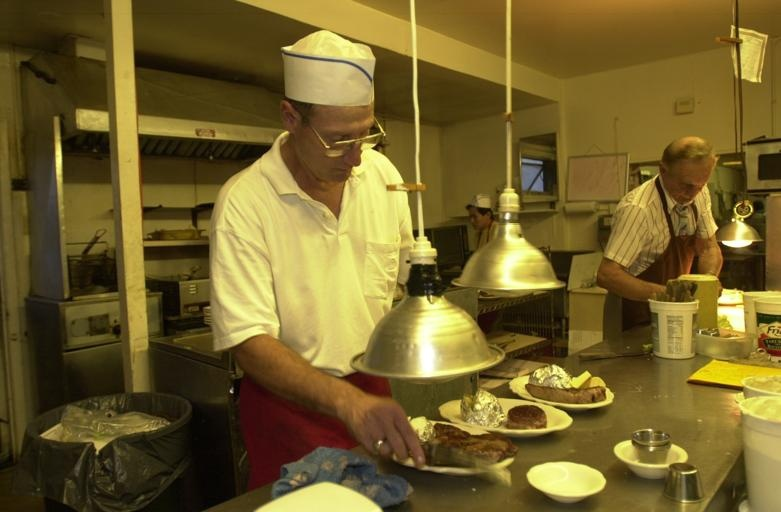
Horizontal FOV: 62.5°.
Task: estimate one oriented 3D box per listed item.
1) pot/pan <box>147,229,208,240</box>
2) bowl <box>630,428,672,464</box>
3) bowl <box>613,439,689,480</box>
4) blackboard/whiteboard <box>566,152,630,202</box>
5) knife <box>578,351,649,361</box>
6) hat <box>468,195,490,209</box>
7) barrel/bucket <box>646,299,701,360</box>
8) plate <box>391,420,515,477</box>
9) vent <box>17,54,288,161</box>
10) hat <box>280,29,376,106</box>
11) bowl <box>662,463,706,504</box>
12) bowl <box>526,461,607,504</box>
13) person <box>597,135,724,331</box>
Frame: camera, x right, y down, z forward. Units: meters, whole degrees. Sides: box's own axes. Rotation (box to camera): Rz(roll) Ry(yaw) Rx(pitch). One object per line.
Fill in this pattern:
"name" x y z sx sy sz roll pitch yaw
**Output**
"pot/pan" -2.151 -0.217 6.486 0.577 0.121 0.384 -3 3 -17
"bowl" 1.154 0.856 2.887 0.153 0.100 0.144 0 13 0
"bowl" 1.080 0.890 2.848 0.233 0.075 0.225 -1 11 0
"blackboard/whiteboard" 2.522 -0.955 7.971 0.916 0.606 0.031 -6 21 -20
"knife" 1.301 0.586 3.765 0.449 0.038 0.068 -3 3 -6
"hat" 1.047 -0.644 7.663 0.188 0.122 0.251 0 -2 38
"barrel/bucket" 1.658 0.435 3.814 0.316 0.304 0.293 0 -2 0
"plate" 0.290 0.869 2.856 0.409 0.052 0.256 4 14 6
"vent" -2.095 -1.399 6.213 2.444 0.845 0.678 1 10 -43
"hat" -0.241 -0.866 2.934 0.451 0.251 0.329 6 19 16
"bowl" 1.237 0.973 2.750 0.160 0.102 0.156 -3 0 0
"bowl" 0.753 0.975 2.787 0.211 0.051 0.204 -3 14 1
"person" 2.046 -0.277 4.742 1.056 1.129 0.575 -5 4 -38
